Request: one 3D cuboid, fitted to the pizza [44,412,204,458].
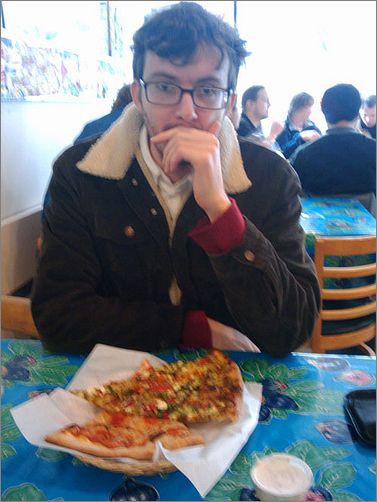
[{"bbox_3d":[-0.086,0.283,0.597,0.123,0.015,0.084,2,4,6],"label":"pizza"}]

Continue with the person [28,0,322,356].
[{"bbox_3d":[-0.020,-0.206,1.131,0.878,0.936,0.525,5,9,1],"label":"person"}]

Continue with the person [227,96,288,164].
[{"bbox_3d":[0.804,-1.439,4.624,0.443,1.058,0.584,5,-8,-34],"label":"person"}]

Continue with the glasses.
[{"bbox_3d":[-0.010,-0.414,1.049,0.220,0.063,0.056,4,9,-8],"label":"glasses"}]
